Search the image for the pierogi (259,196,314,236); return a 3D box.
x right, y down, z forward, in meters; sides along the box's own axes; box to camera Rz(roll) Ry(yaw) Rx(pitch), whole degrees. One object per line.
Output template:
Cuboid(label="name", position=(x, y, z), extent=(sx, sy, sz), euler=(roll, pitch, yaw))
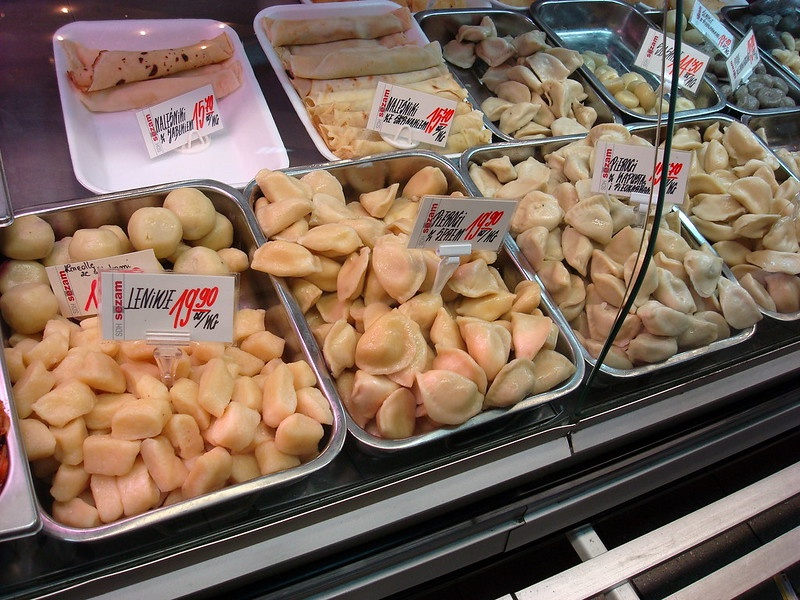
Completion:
Cuboid(label="pierogi", position=(-0.312, -0.236, 1.606), extent=(0.150, 0.045, 0.085), euler=(-32, 68, -10))

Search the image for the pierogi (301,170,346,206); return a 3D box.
Cuboid(label="pierogi", position=(-0.225, -0.343, 1.683), extent=(0.068, 0.111, 0.110), euler=(-38, 43, 21))

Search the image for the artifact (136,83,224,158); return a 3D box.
Cuboid(label="artifact", position=(-0.715, -0.591, 1.860), extent=(0.256, 0.144, 0.098), euler=(-25, 45, -24))

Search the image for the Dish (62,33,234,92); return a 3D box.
Cuboid(label="Dish", position=(-0.851, -0.825, 2.046), extent=(0.605, 0.171, 0.207), euler=(-19, 59, -26))

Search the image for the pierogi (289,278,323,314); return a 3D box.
Cuboid(label="pierogi", position=(-0.244, -0.020, 1.505), extent=(0.064, 0.039, 0.101), euler=(-35, 68, -13))

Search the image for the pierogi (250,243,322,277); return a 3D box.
Cuboid(label="pierogi", position=(-0.298, -0.103, 1.466), extent=(0.137, 0.039, 0.096), euler=(20, 62, 14))

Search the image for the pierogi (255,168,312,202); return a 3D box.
Cuboid(label="pierogi", position=(-0.331, -0.320, 1.603), extent=(0.129, 0.042, 0.092), euler=(21, 59, 10))

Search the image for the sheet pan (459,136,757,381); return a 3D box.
Cuboid(label="sheet pan", position=(0.506, -0.169, 1.691), extent=(0.617, 0.192, 0.824), euler=(-20, 66, -26))

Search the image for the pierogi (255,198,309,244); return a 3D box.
Cuboid(label="pierogi", position=(-0.322, -0.233, 1.582), extent=(0.118, 0.037, 0.121), euler=(-34, 66, -3))

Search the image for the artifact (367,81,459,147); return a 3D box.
Cuboid(label="artifact", position=(0.011, -0.590, 2.010), extent=(0.280, 0.450, 0.110), euler=(19, 97, -11))
